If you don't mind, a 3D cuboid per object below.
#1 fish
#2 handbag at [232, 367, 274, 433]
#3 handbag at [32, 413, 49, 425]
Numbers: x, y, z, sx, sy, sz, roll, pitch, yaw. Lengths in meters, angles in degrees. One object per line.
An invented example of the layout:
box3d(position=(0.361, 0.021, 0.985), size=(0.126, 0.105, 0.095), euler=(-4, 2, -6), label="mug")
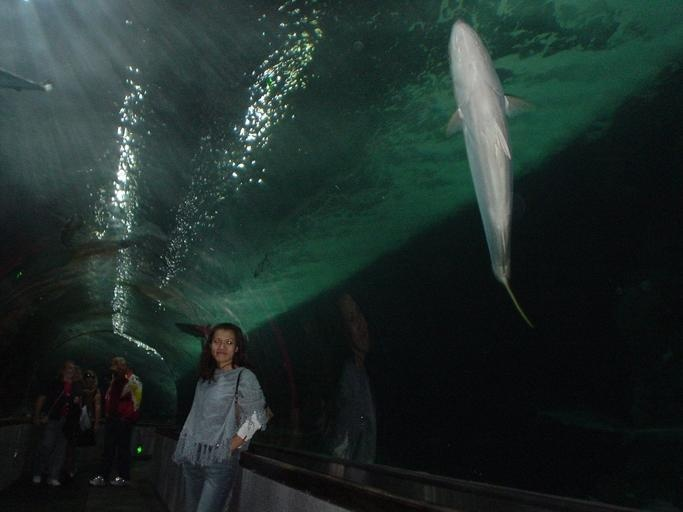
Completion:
box3d(position=(0.885, -0.547, 3.595), size=(0.466, 2.004, 0.492), euler=(-8, -3, 11), label="fish")
box3d(position=(-0.856, 1.277, 4.701), size=(0.268, 0.688, 0.523), euler=(-5, -13, -11), label="handbag")
box3d(position=(-5.958, 3.221, 10.475), size=(0.245, 0.202, 0.940), euler=(17, -25, -25), label="handbag")
